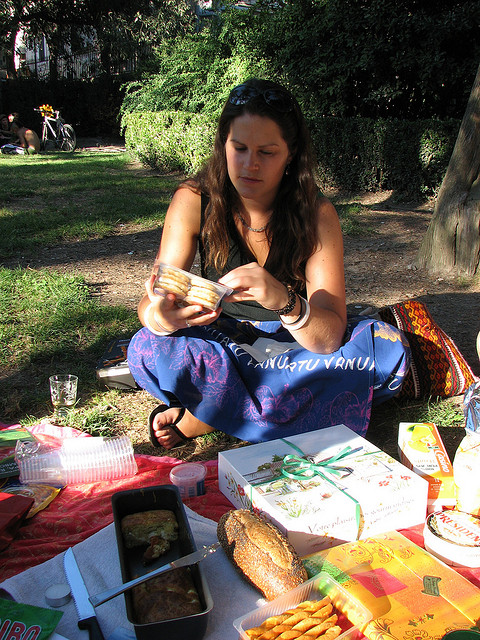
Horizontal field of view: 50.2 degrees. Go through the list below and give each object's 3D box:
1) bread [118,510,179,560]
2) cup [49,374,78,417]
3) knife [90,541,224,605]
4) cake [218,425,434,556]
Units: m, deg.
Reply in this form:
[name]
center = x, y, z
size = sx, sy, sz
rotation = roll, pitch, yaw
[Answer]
[bread]
center = -0.254, 0.616, 1.498
size = 0.123, 0.042, 0.120
rotation = 21, 29, 34
[cup]
center = -0.984, 0.412, 2.879
size = 0.135, 0.194, 0.212
rotation = -6, 14, -20
[knife]
center = -0.193, 0.626, 1.274
size = 0.358, 0.041, 0.055
rotation = -10, 15, -36
[cake]
center = 0.284, 0.580, 1.782
size = 0.577, 0.251, 0.543
rotation = -6, 13, -22
